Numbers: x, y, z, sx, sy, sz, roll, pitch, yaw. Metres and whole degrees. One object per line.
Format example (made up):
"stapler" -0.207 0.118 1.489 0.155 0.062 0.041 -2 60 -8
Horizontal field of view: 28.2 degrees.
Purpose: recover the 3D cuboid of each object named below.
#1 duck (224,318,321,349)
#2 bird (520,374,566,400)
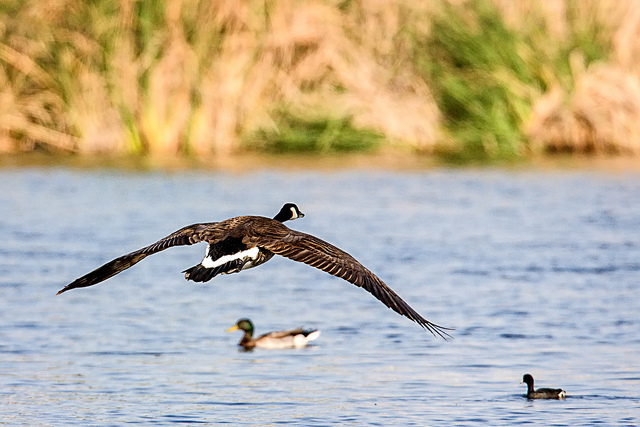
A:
"duck" -1.108 2.725 28.305 2.260 0.550 0.742 -1 100 -28
"bird" 4.585 3.606 25.890 1.124 0.360 0.641 6 79 -29
